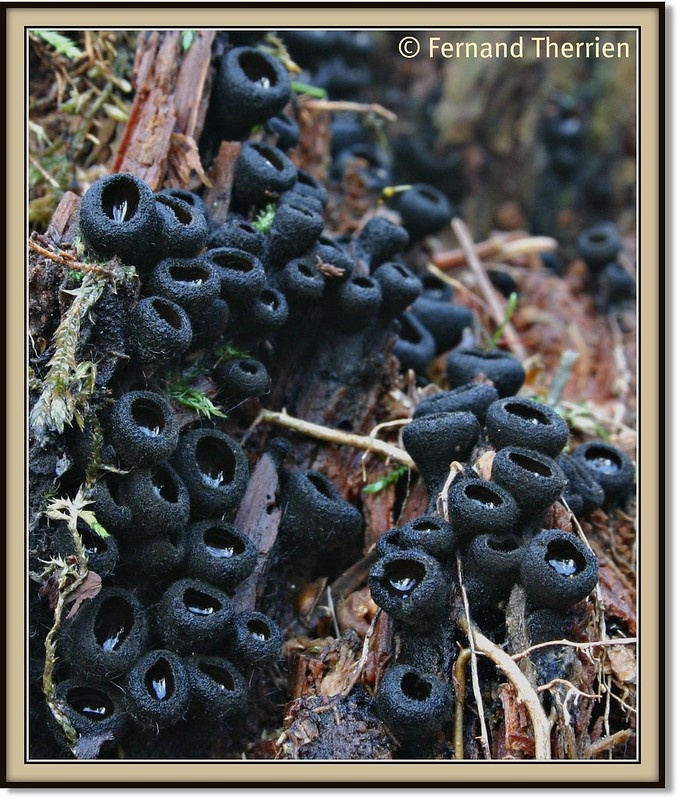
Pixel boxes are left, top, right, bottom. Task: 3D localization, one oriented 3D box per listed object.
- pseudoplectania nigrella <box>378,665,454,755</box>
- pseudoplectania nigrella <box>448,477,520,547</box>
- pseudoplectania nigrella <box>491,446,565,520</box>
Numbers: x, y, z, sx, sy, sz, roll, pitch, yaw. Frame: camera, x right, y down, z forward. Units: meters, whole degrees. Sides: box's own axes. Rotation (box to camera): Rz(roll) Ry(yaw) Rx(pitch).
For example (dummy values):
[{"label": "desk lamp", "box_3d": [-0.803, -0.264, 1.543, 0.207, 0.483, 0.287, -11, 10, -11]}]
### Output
[{"label": "pseudoplectania nigrella", "box_3d": [0.163, 0.708, 2.017, 0.175, 0.194, 0.142, 9, -1, 8]}, {"label": "pseudoplectania nigrella", "box_3d": [0.322, 0.255, 2.137, 0.155, 0.099, 0.154, 19, 10, -5]}, {"label": "pseudoplectania nigrella", "box_3d": [0.435, 0.192, 2.170, 0.161, 0.126, 0.165, 15, 10, -20]}]
